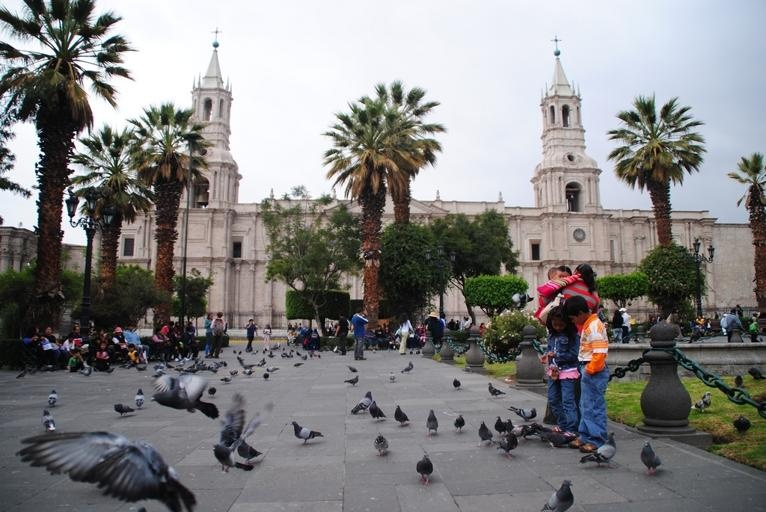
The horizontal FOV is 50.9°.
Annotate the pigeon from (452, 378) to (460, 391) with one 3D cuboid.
[{"bbox_3d":[2.314,3.998,25.172,0.175,0.248,0.338,-14,-26,15],"label":"pigeon"}]

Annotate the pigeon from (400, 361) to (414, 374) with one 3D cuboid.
[{"bbox_3d":[0.865,3.885,28.194,0.562,0.563,0.335,3,-12,-6],"label":"pigeon"}]

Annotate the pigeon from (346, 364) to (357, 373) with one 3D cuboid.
[{"bbox_3d":[-1.170,4.102,29.414,0.202,0.189,0.600,23,-3,21],"label":"pigeon"}]

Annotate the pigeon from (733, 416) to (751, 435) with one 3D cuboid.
[{"bbox_3d":[9.481,4.399,21.096,0.289,0.317,0.477,-32,-19,20],"label":"pigeon"}]

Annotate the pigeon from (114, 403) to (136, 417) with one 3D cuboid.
[{"bbox_3d":[-7.391,4.298,22.715,0.288,0.423,0.626,16,-31,-41],"label":"pigeon"}]

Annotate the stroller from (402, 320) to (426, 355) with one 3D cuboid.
[{"bbox_3d":[1.639,4.066,39.131,0.867,1.085,1.879,-2,-33,-1],"label":"stroller"}]

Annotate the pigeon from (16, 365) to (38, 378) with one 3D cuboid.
[{"bbox_3d":[-12.694,4.094,28.419,0.474,0.213,0.456,7,4,30],"label":"pigeon"}]

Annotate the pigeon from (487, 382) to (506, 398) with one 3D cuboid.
[{"bbox_3d":[3.453,4.006,24.018,0.656,0.450,0.240,-2,-12,16],"label":"pigeon"}]

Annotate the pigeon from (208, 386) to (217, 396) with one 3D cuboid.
[{"bbox_3d":[-5.228,4.125,24.657,0.266,0.272,0.347,11,-21,-35],"label":"pigeon"}]
